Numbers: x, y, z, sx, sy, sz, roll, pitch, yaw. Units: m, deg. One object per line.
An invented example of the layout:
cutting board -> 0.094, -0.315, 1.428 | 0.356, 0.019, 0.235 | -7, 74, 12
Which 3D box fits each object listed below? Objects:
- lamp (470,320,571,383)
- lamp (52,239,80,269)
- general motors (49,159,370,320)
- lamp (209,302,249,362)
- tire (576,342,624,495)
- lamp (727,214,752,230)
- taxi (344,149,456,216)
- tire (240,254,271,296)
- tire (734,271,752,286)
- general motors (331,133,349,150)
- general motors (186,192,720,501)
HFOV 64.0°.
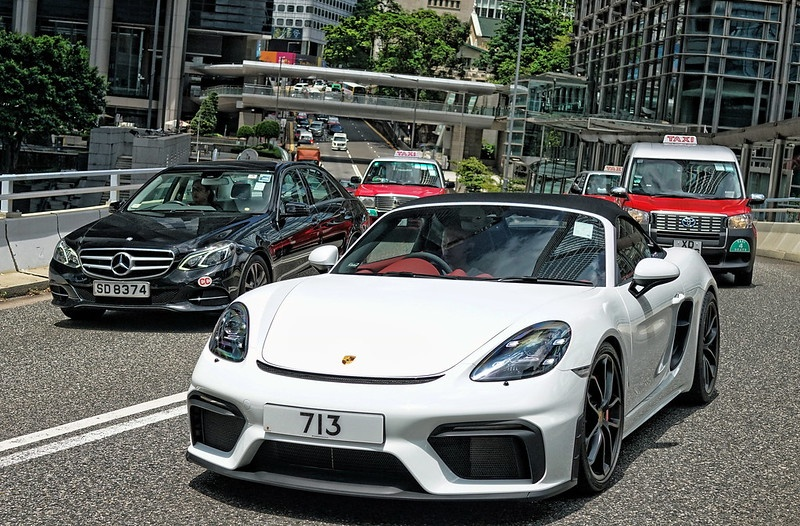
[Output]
lamp -> 0.658, 0.476, 3.451 | 0.490, 0.260, 0.115 | -14, 21, -31
lamp -> -4.148, -0.115, 7.916 | 0.317, 0.177, 0.420 | 13, 43, -14
general motors -> -2.173, -0.337, 9.567 | 2.190, 1.456, 4.795 | -1, 4, 22
lamp -> -0.969, 0.426, 3.847 | 0.203, 0.370, 0.121 | 2, -32, 28
tire -> 1.174, 0.906, 3.772 | 0.176, 0.859, 0.784 | 3, 18, 27
lamp -> 6.888, -0.829, 12.871 | 0.593, 0.314, 0.247 | -2, 9, -30
taxi -> -0.060, -2.412, 18.290 | 2.266, 1.313, 3.256 | -1, 3, 10
tire -> -1.854, 0.099, 8.198 | 0.537, 0.503, 0.180 | 19, 15, 30
tire -> 7.055, 0.293, 13.080 | 0.306, 0.323, 0.432 | 6, 8, 27
general motors -> -8.634, -17.236, 91.720 | 1.841, 1.358, 3.015 | -1, 3, 1
general motors -> 0.762, 0.351, 4.494 | 1.899, 1.026, 3.279 | -1, 0, 26
